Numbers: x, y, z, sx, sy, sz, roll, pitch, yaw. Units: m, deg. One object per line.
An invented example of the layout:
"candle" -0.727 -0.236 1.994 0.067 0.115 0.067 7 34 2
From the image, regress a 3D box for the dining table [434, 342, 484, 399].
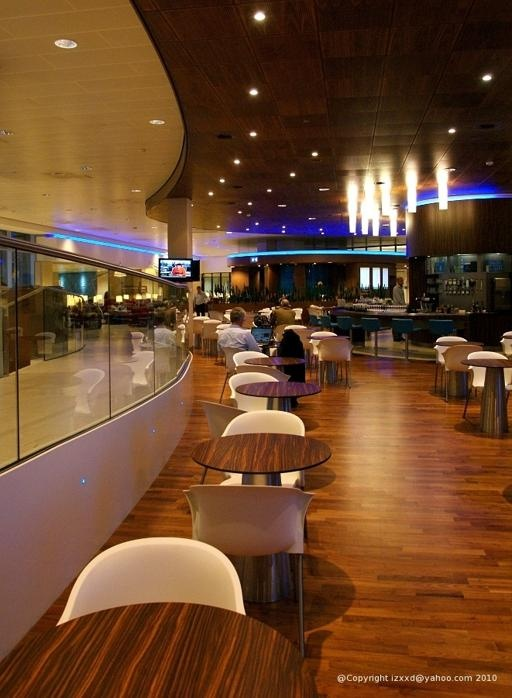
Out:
"dining table" 2.610 0.280 6.495 0.631 0.828 0.587 0 13 11

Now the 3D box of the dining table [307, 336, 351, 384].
"dining table" 1.195 0.164 8.002 0.738 1.010 0.754 -1 12 3

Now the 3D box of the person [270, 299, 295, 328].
"person" 0.426 -0.606 8.662 0.387 0.519 0.820 1 5 6

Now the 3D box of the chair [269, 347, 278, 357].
"chair" 0.243 0.048 7.716 0.111 0.149 0.122 4 -6 -38

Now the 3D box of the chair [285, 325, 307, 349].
"chair" 0.619 -0.252 8.730 0.371 0.496 0.420 1 13 12

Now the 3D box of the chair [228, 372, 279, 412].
"chair" -0.061 0.328 4.251 0.347 0.431 0.312 -1 2 -20

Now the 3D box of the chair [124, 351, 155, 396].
"chair" -0.882 0.166 3.885 0.192 0.274 0.227 0 1 -7

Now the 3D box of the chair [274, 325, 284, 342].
"chair" 0.387 -0.283 9.106 0.249 0.321 0.247 -1 17 -13

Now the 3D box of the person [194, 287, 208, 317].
"person" -1.836 -1.558 16.484 0.417 0.952 1.989 -1 5 -8

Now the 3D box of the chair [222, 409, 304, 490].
"chair" 0.058 0.581 2.967 0.433 0.579 0.411 0 -1 5

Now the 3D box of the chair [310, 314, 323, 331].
"chair" 1.513 -0.694 13.114 0.412 0.491 0.341 -6 9 -35

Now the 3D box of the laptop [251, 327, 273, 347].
"laptop" 0.070 -0.196 7.686 0.308 0.239 0.281 3 1 12

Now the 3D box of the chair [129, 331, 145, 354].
"chair" -0.874 -0.057 3.673 0.106 0.162 0.107 10 12 34

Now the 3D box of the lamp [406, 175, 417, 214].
"lamp" 3.161 -3.145 10.328 0.213 0.720 1.479 2 5 16

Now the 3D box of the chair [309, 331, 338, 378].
"chair" 1.078 -0.048 8.560 0.499 0.644 0.477 1 -3 -3
